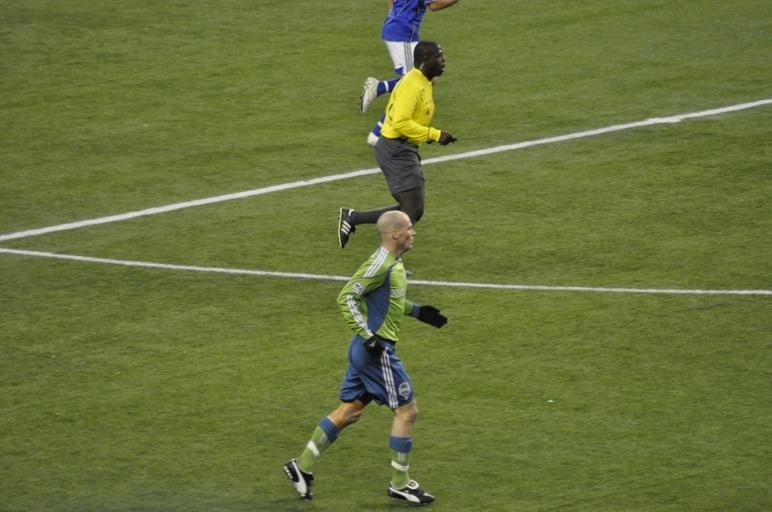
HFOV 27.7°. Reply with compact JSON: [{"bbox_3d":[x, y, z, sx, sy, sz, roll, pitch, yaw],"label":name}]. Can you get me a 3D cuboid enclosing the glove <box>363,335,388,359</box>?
[{"bbox_3d":[-0.050,0.844,14.577,0.172,0.238,0.129,4,90,-25],"label":"glove"}]
